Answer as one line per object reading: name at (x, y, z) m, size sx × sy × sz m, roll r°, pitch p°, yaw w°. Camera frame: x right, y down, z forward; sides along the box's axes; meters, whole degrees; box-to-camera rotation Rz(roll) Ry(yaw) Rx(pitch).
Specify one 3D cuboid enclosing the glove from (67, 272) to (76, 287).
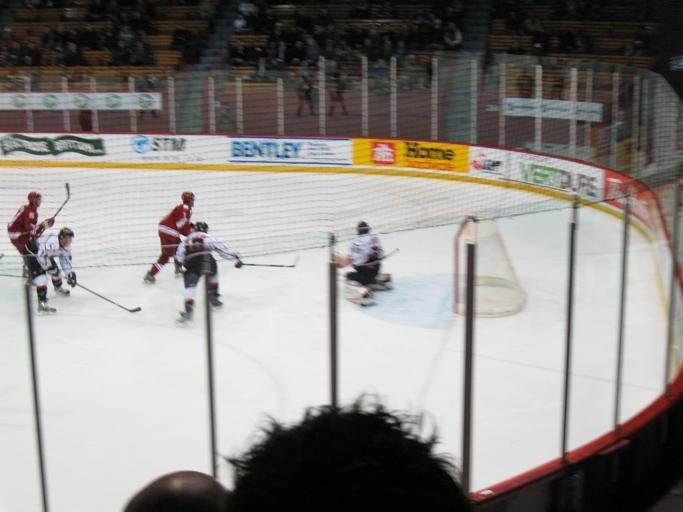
glove at (-3.358, 0.290, 12.735) m, size 0.132 × 0.153 × 0.055 m, roll 3°, pitch -4°, yaw -17°

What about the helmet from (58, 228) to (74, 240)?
helmet at (-3.405, -0.279, 12.616) m, size 0.155 × 0.138 × 0.153 m, roll 8°, pitch -26°, yaw -17°

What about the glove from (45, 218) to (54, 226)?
glove at (-3.711, -0.431, 13.008) m, size 0.140 × 0.062 × 0.145 m, roll 5°, pitch 13°, yaw 1°

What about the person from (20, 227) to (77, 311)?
person at (-3.575, 0.164, 12.399) m, size 0.697 × 0.964 × 0.607 m, roll 13°, pitch 36°, yaw -7°

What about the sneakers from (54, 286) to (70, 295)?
sneakers at (-3.475, 0.431, 12.758) m, size 0.222 × 0.077 × 0.065 m, roll 8°, pitch 37°, yaw -9°

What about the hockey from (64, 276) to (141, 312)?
hockey at (-2.970, 0.488, 12.651) m, size 1.312 × 0.157 × 0.146 m, roll 15°, pitch 23°, yaw 30°

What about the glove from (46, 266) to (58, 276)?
glove at (-3.575, 0.186, 12.664) m, size 0.127 × 0.094 × 0.114 m, roll -7°, pitch 17°, yaw -28°

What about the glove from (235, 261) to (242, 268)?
glove at (-1.223, 0.096, 12.175) m, size 0.096 × 0.063 × 0.063 m, roll 6°, pitch -5°, yaw -27°

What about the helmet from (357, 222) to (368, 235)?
helmet at (0.237, -0.338, 12.177) m, size 0.174 × 0.127 × 0.150 m, roll 1°, pitch -1°, yaw -17°
